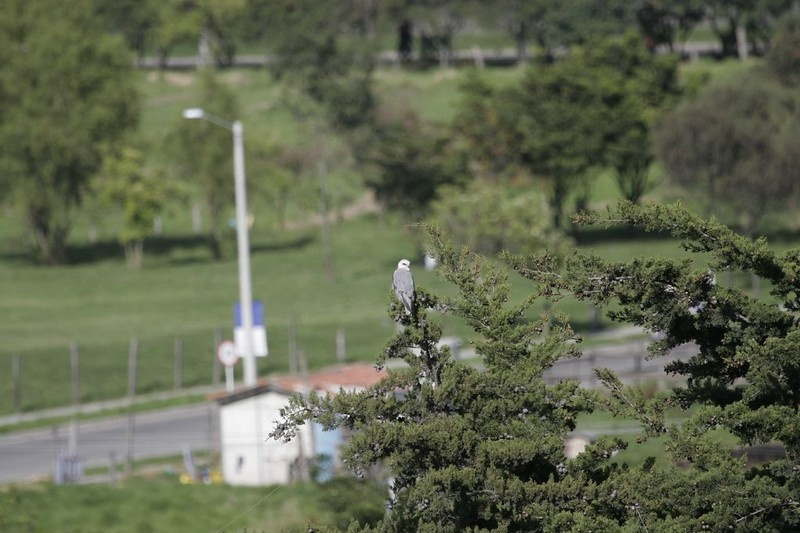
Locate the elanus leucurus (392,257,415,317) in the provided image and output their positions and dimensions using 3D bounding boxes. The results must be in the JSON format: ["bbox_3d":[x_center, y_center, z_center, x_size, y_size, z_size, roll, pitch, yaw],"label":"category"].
[{"bbox_3d":[0.121,0.449,74.877,0.553,1.532,0.670,-8,-28,12],"label":"elanus leucurus"}]
